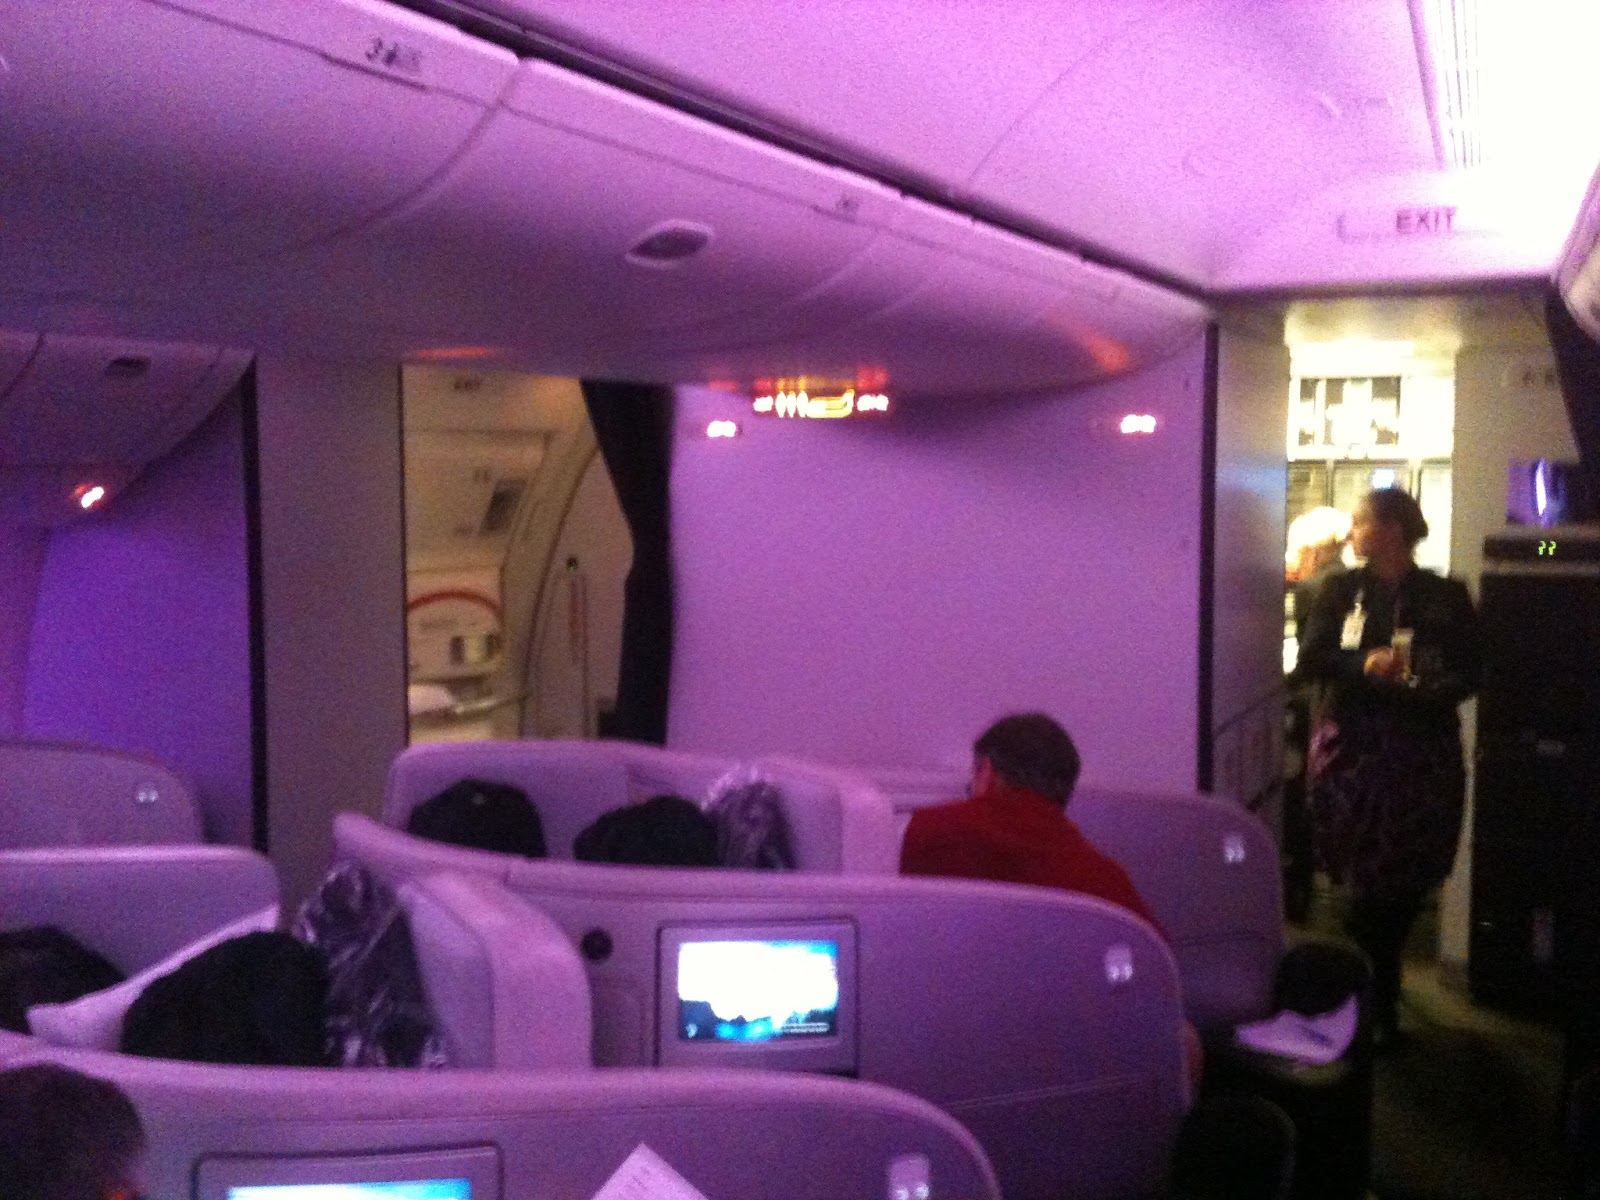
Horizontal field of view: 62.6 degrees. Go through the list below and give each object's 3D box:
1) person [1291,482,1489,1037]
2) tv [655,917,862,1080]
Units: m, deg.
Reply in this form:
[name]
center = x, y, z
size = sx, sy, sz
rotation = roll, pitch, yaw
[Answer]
[person]
center = 1.865, 0.535, 4.207
size = 0.293, 1.789, 0.517
rotation = 1, -2, -14
[tv]
center = -0.079, 0.812, 2.664
size = 0.474, 0.362, 0.278
rotation = 0, -4, -5
